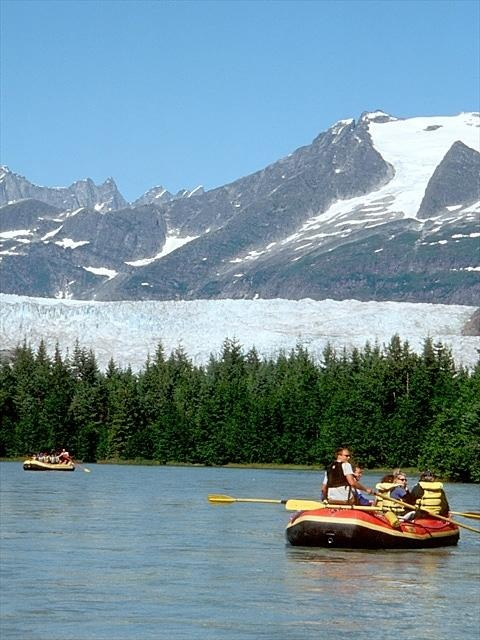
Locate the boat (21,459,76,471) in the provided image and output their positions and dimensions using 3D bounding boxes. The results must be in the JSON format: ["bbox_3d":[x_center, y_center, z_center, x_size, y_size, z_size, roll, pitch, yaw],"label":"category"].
[{"bbox_3d":[-17.818,13.351,114.429,4.423,1.146,3.049,0,-5,-9],"label":"boat"}]
